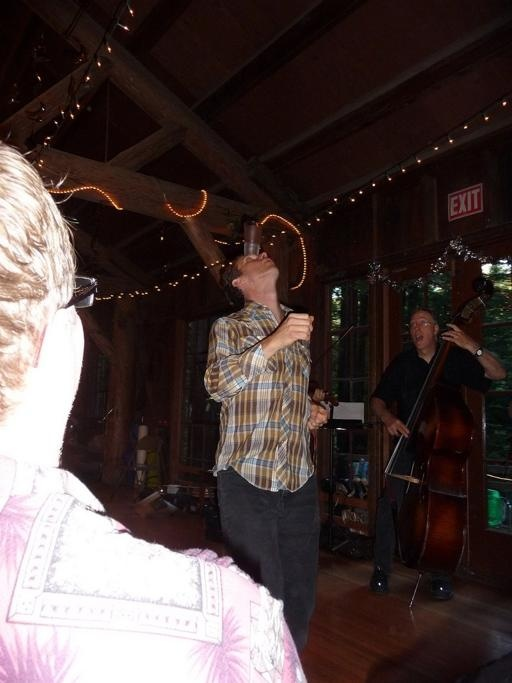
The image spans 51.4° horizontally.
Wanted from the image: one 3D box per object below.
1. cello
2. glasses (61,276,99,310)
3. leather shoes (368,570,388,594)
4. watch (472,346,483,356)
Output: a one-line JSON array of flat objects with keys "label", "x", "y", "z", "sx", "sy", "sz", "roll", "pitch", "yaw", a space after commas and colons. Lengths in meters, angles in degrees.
[{"label": "cello", "x": 0.914, "y": 0.564, "z": 2.744, "sx": 0.362, "sy": 1.154, "sz": 0.415, "roll": 1, "pitch": -8, "yaw": -10}, {"label": "glasses", "x": -0.151, "y": -0.043, "z": 0.463, "sx": 0.025, "sy": 0.012, "sz": 0.032, "roll": 9, "pitch": 40, "yaw": 14}, {"label": "leather shoes", "x": 0.712, "y": 1.372, "z": 3.069, "sx": 0.111, "sy": 0.112, "sz": 0.128, "roll": -1, "pitch": -7, "yaw": 6}, {"label": "watch", "x": 1.198, "y": 0.055, "z": 2.860, "sx": 0.065, "sy": 0.038, "sz": 0.057, "roll": -19, "pitch": -4, "yaw": 0}]
